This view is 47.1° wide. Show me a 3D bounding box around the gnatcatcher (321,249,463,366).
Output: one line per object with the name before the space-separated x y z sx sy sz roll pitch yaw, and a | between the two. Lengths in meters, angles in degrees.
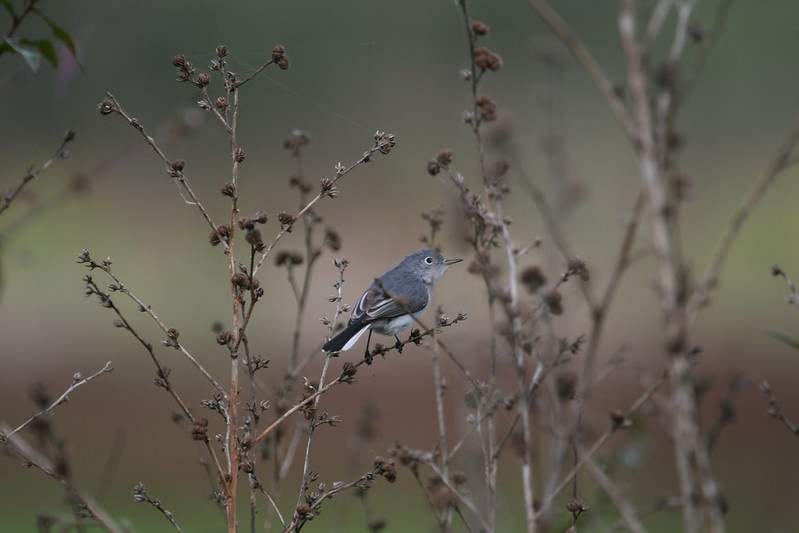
gnatcatcher | -0.046 0.234 6.069 1.010 0.314 0.552 -9 -87 -37
